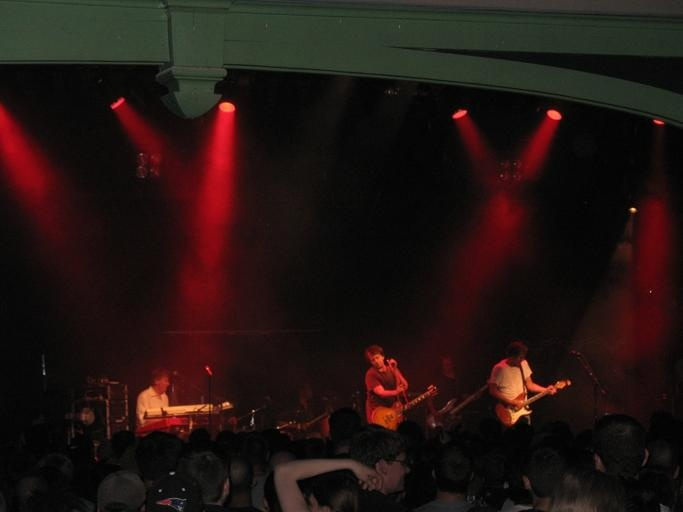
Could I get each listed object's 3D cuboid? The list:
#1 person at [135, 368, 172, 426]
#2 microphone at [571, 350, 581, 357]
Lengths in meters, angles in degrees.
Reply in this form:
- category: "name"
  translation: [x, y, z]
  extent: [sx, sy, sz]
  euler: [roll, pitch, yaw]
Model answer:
- category: "person"
  translation: [-2.302, 1.734, 9.185]
  extent: [0.300, 1.027, 0.449]
  euler: [-8, -13, 24]
- category: "microphone"
  translation: [3.254, 1.329, 10.381]
  extent: [0.095, 0.067, 0.157]
  euler: [25, -4, -13]
